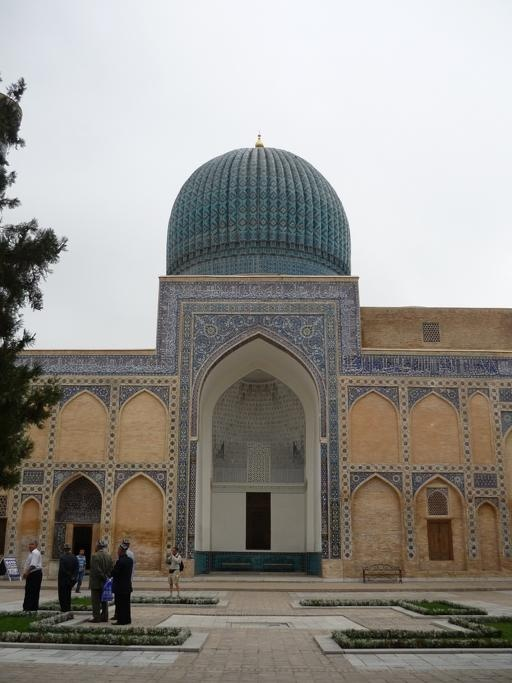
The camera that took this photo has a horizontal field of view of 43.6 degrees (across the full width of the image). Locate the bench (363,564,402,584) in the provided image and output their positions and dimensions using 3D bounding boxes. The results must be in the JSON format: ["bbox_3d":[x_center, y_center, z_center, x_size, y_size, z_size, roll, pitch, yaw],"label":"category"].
[{"bbox_3d":[1.807,3.372,9.334,0.565,0.226,0.332,-2,-15,4],"label":"bench"}]
